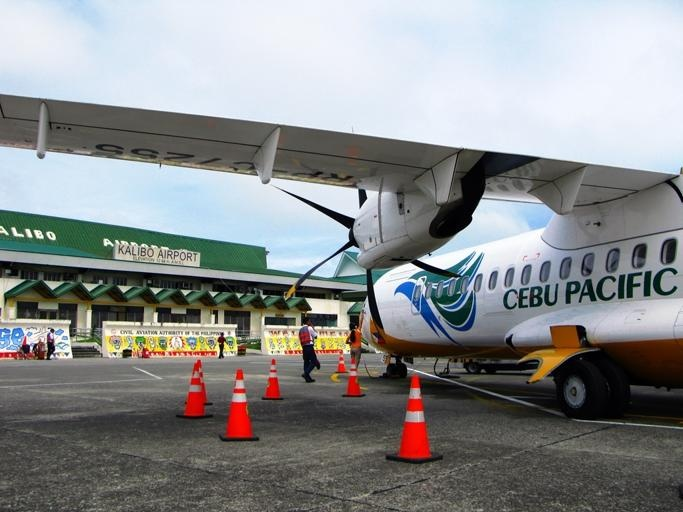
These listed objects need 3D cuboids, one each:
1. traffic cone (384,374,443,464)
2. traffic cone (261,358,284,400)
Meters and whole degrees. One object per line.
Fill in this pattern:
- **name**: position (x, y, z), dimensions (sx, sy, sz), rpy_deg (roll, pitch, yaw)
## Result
- **traffic cone**: position (0.890, 1.969, 7.132), dimensions (0.821, 0.947, 0.773), rpy_deg (-1, -8, 24)
- **traffic cone**: position (-1.487, 2.645, 12.487), dimensions (0.639, 0.808, 0.606), rpy_deg (-4, -7, 15)
